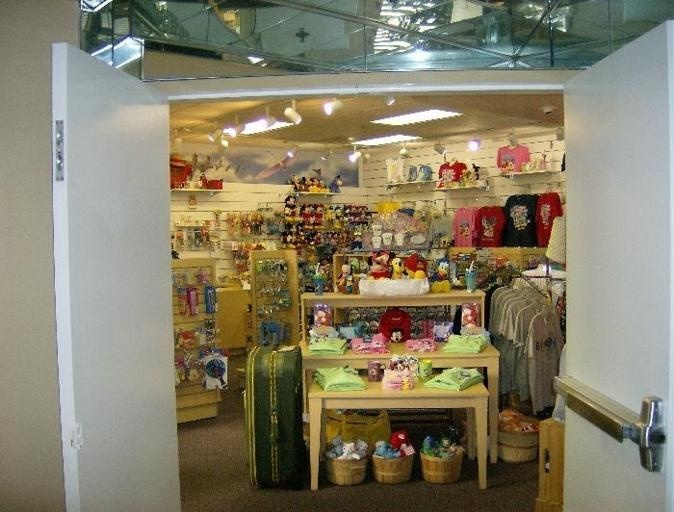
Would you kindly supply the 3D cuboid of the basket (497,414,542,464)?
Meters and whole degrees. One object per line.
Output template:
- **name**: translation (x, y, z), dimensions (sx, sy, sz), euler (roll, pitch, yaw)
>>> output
- **basket**: translation (1.680, 1.660, 5.144), dimensions (0.398, 0.432, 0.283), euler (-2, 4, 0)

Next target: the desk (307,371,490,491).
- **desk**: translation (0.510, 1.487, 4.722), dimensions (1.507, 0.850, 0.519), euler (-1, 4, 3)

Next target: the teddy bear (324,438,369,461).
- **teddy bear**: translation (0.100, 1.659, 4.777), dimensions (0.228, 0.086, 0.235), euler (0, -4, 31)

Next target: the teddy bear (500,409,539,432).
- **teddy bear**: translation (1.678, 1.530, 5.147), dimensions (0.226, 0.083, 0.196), euler (-1, 2, -19)

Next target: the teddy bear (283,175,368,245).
- **teddy bear**: translation (-0.294, -0.853, 10.931), dimensions (1.581, 1.461, 0.502), euler (1, -5, -33)

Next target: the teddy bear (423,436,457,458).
- **teddy bear**: translation (0.865, 1.627, 4.733), dimensions (0.218, 0.092, 0.168), euler (-4, 2, 2)

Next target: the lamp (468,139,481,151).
- **lamp**: translation (2.207, -1.732, 8.922), dimensions (0.220, 0.225, 0.210), euler (3, 7, 3)

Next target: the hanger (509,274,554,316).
- **hanger**: translation (2.019, 0.419, 5.783), dimensions (0.261, 0.141, 0.434), euler (-3, -19, 2)

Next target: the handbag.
- **handbag**: translation (0.092, 1.548, 4.912), dimensions (0.557, 0.397, 0.305), euler (-1, -10, 8)

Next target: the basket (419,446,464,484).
- **basket**: translation (0.879, 1.771, 4.736), dimensions (0.258, 0.180, 0.279), euler (1, -9, -1)

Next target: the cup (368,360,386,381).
- **cup**: translation (0.360, 0.993, 4.865), dimensions (0.178, 0.174, 0.118), euler (0, -2, -16)

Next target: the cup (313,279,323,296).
- **cup**: translation (-0.186, 0.331, 5.859), dimensions (0.140, 0.171, 0.133), euler (0, -13, 0)

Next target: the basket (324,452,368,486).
- **basket**: translation (0.090, 1.766, 4.698), dimensions (0.268, 0.138, 0.254), euler (7, -12, -39)

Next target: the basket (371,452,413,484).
- **basket**: translation (0.472, 1.789, 4.679), dimensions (0.263, 0.163, 0.261), euler (9, -15, -40)

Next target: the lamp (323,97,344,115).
- **lamp**: translation (-0.047, -1.666, 6.222), dimensions (0.178, 0.229, 0.451), euler (-2, 4, -3)

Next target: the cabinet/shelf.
- **cabinet/shelf**: translation (-1.616, 0.963, 6.448), dimensions (0.495, 1.833, 0.837), euler (-3, 4, -14)

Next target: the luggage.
- **luggage**: translation (-0.521, 1.383, 4.661), dimensions (0.461, 1.110, 0.276), euler (-2, 4, -10)

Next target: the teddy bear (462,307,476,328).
- **teddy bear**: translation (1.318, 0.604, 5.553), dimensions (0.141, 0.185, 0.079), euler (-1, 4, 12)

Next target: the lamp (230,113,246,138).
- **lamp**: translation (-1.379, -1.778, 7.642), dimensions (0.194, 0.215, 0.643), euler (-2, 4, -11)

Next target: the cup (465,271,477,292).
- **cup**: translation (1.330, 0.248, 5.579), dimensions (0.110, 0.218, 0.110), euler (-2, 4, 0)

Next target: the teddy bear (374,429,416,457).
- **teddy bear**: translation (0.485, 1.579, 4.738), dimensions (0.269, 0.126, 0.216), euler (3, -8, -18)

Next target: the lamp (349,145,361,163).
- **lamp**: translation (0.325, -1.779, 9.908), dimensions (0.216, 0.221, 0.534), euler (-4, 37, -2)
